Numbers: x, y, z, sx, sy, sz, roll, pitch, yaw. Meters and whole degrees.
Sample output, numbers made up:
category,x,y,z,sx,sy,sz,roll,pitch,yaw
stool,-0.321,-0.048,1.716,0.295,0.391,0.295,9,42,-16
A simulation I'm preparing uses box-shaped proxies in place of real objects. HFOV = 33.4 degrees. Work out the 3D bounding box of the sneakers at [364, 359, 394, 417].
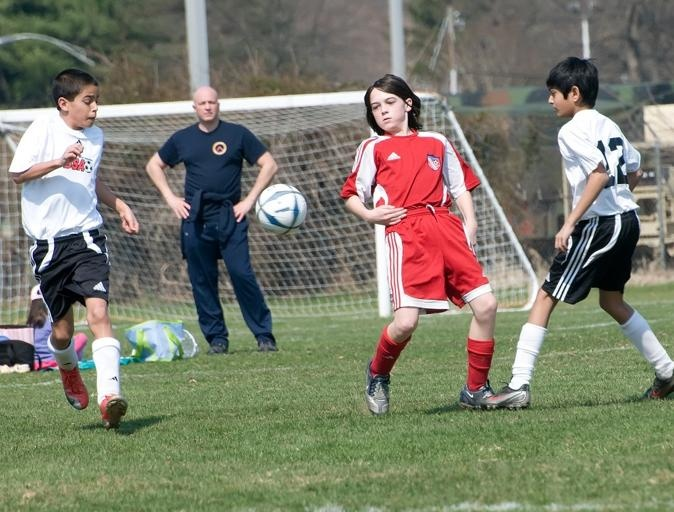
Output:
category,x,y,z,sx,sy,sz,roll,pitch,yaw
sneakers,0.314,0.987,8.378,0.135,0.422,0.184,-1,-6,-9

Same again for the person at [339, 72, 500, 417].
category,x,y,z,sx,sy,sz,roll,pitch,yaw
person,0.629,0.130,8.312,1.045,2.044,0.537,-3,8,0

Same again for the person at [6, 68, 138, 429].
category,x,y,z,sx,sy,sz,roll,pitch,yaw
person,-1.912,-0.063,8.355,0.868,2.613,0.616,3,10,34

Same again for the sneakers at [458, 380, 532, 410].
category,x,y,z,sx,sy,sz,roll,pitch,yaw
sneakers,1.174,1.043,8.365,0.554,0.261,0.192,-3,-7,9

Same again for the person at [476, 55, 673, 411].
category,x,y,z,sx,sy,sz,roll,pitch,yaw
person,1.835,-0.190,8.270,1.233,2.515,0.645,-2,9,7

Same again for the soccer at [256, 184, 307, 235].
category,x,y,z,sx,sy,sz,roll,pitch,yaw
soccer,-0.533,-0.494,11.097,0.452,0.469,0.478,-5,20,25

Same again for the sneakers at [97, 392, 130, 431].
category,x,y,z,sx,sy,sz,roll,pitch,yaw
sneakers,-1.597,1.114,8.047,0.131,0.335,0.153,2,43,-14

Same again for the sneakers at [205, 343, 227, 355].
category,x,y,z,sx,sy,sz,roll,pitch,yaw
sneakers,-1.165,0.922,11.030,0.089,0.077,0.181,-1,-7,18

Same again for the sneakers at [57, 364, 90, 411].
category,x,y,z,sx,sy,sz,roll,pitch,yaw
sneakers,-1.975,1.013,8.553,0.135,0.418,0.165,-21,5,-8
